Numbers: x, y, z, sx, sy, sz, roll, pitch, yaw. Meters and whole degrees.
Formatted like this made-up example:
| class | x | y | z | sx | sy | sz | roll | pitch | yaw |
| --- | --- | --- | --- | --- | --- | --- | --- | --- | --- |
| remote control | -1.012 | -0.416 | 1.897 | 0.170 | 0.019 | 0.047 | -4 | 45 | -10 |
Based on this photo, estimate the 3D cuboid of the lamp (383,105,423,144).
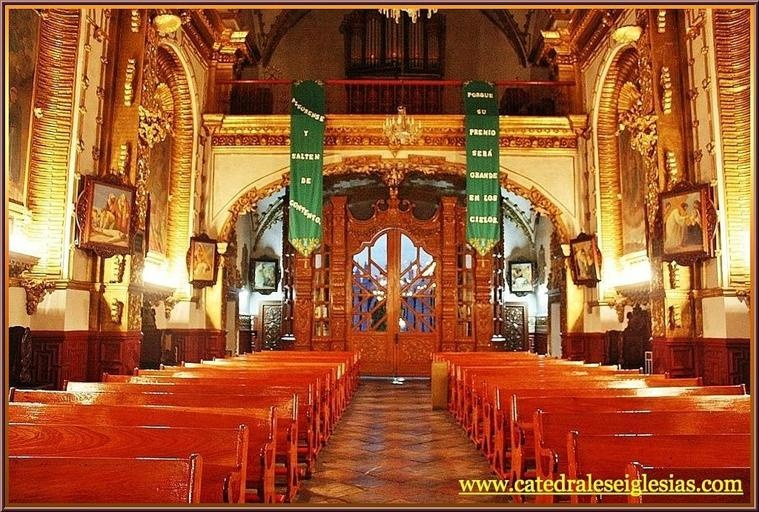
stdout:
| class | x | y | z | sx | sy | sz | roll | pitch | yaw |
| --- | --- | --- | --- | --- | --- | --- | --- | --- | --- |
| lamp | 0.540 | -2.713 | 13.519 | 0.938 | 1.054 | 0.941 | 1 | 2 | 9 |

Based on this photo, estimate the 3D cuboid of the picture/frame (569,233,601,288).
| class | x | y | z | sx | sy | sz | roll | pitch | yaw |
| --- | --- | --- | --- | --- | --- | --- | --- | --- | --- |
| picture/frame | 4.621 | 0.088 | 14.007 | 0.234 | 1.157 | 0.796 | 2 | -4 | -22 |

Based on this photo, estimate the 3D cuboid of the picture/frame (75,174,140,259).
| class | x | y | z | sx | sy | sz | roll | pitch | yaw |
| --- | --- | --- | --- | --- | --- | --- | --- | --- | --- |
| picture/frame | -4.261 | -0.608 | 9.717 | 0.124 | 1.261 | 1.278 | -1 | -6 | 19 |
